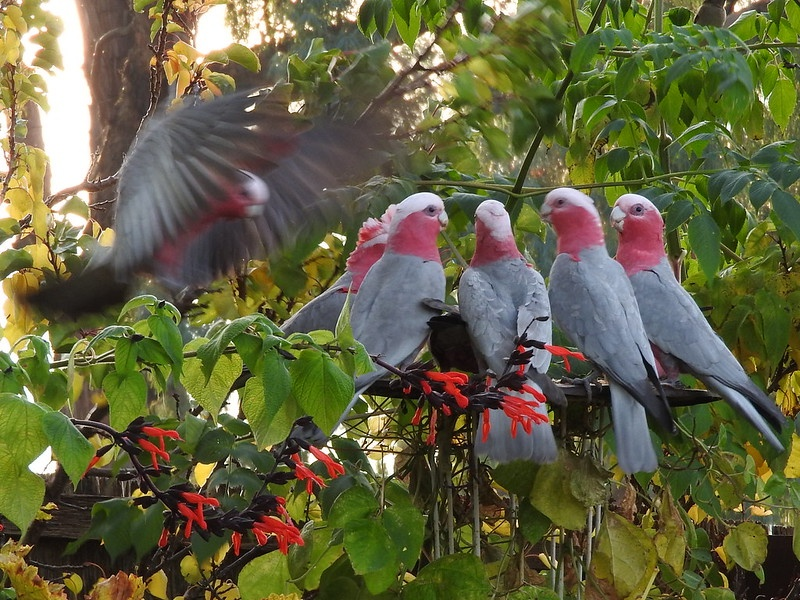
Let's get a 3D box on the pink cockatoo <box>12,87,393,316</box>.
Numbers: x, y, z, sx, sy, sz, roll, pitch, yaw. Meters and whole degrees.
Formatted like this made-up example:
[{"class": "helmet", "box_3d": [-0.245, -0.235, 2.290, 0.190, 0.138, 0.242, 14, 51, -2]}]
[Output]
[{"class": "pink cockatoo", "box_3d": [-0.315, -0.184, 2.185, 0.338, 0.472, 0.265, 22, -57, 30]}]
